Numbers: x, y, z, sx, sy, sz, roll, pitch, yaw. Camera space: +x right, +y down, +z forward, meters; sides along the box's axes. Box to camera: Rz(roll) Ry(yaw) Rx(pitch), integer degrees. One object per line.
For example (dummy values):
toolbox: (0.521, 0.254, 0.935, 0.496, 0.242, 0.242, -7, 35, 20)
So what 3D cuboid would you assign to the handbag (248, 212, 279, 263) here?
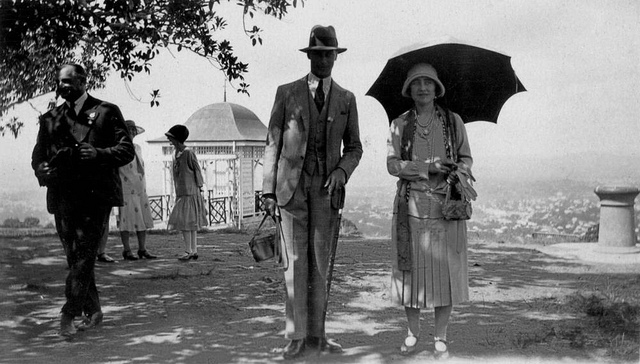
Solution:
handbag: (-0.782, 0.790, 11.785, 0.484, 0.732, 0.727, -12, -6, 15)

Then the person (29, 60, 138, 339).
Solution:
person: (-3.758, 0.240, 11.959, 1.425, 4.163, 0.960, -4, 12, -20)

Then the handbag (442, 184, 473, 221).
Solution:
handbag: (2.037, 0.251, 11.300, 0.473, 0.646, 0.141, 2, -11, -13)

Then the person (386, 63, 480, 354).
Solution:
person: (1.644, 0.370, 11.317, 1.264, 4.218, 1.032, 1, 12, 6)
